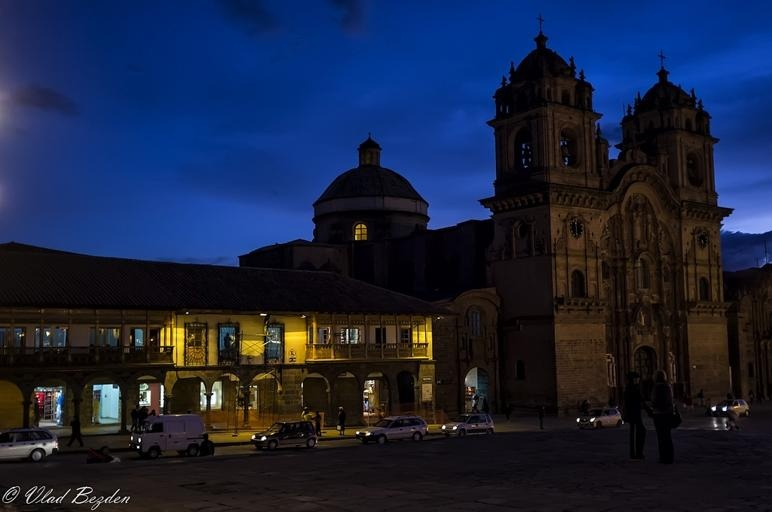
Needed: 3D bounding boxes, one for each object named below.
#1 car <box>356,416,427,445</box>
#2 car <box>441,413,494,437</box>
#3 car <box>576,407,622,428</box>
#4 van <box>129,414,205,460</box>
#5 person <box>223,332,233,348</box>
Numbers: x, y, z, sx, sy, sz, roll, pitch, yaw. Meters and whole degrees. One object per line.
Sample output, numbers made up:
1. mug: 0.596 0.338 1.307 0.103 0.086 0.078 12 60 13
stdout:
1. car: 0.518 11.870 65.699 4.465 1.422 1.905 7 -15 -30
2. car: 5.868 11.977 68.679 3.119 1.194 1.634 7 -16 -25
3. car: 16.190 12.130 72.391 2.864 1.146 1.500 7 -14 -26
4. van: -13.457 10.971 59.317 4.015 2.101 2.368 6 -16 -27
5. person: -11.669 6.281 71.621 0.709 1.004 0.203 6 -17 -36
